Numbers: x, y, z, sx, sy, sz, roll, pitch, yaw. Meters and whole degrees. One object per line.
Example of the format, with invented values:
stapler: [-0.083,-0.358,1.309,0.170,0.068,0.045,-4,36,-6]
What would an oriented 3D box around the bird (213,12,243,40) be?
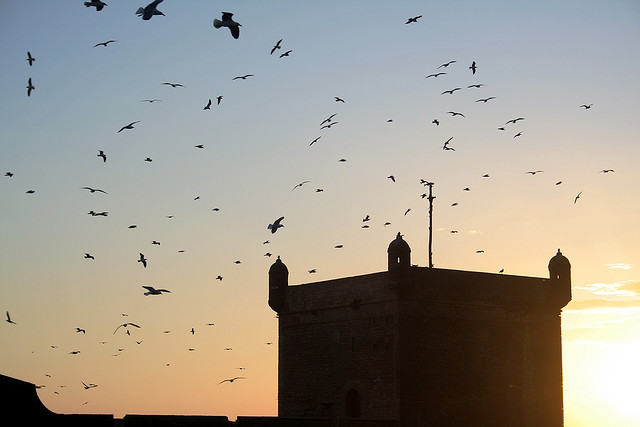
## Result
bird: [-4.478,-8.971,63.750,1.095,1.059,0.473,10,13,17]

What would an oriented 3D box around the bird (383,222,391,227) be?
bird: [0.911,0.146,17.927,0.095,0.020,0.050,-14,-16,26]
